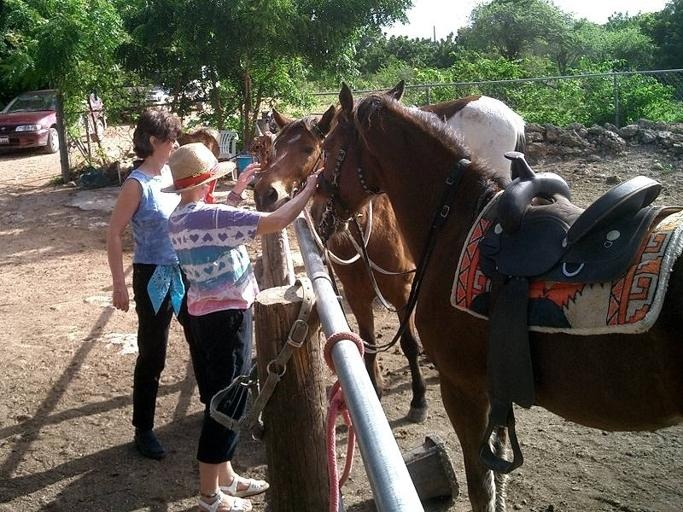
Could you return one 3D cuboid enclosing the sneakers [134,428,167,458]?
[{"bbox_3d":[-1.379,1.370,4.296,0.126,0.126,0.285,-8,18,-41],"label":"sneakers"}]

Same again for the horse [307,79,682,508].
[{"bbox_3d":[0.831,0.289,3.275,0.681,2.268,1.945,-12,19,-33],"label":"horse"}]

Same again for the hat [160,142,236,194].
[{"bbox_3d":[-0.906,-0.542,3.628,0.502,0.223,0.547,-19,15,-1],"label":"hat"}]

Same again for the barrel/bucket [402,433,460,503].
[{"bbox_3d":[0.563,1.403,3.896,0.283,0.381,0.366,-12,-17,-7],"label":"barrel/bucket"}]
